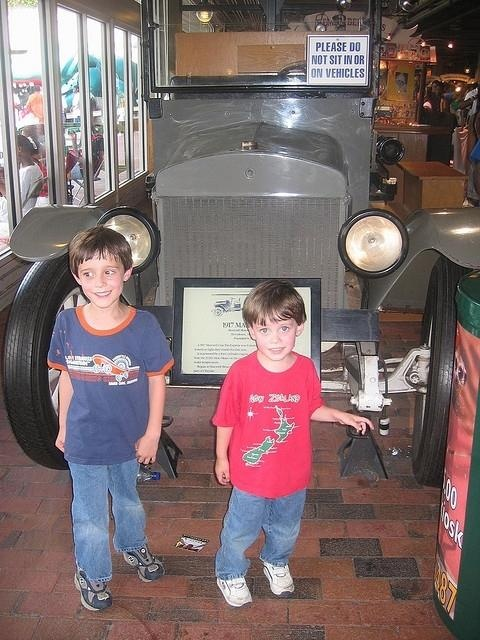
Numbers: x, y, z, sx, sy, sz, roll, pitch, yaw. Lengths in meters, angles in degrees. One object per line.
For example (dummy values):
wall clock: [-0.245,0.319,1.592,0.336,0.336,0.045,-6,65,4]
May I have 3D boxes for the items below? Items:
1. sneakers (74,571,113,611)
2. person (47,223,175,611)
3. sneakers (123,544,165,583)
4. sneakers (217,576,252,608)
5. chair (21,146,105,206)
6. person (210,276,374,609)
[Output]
sneakers: [-0.410,0.738,1.366,0.137,0.062,0.065,17,-11,43]
person: [-0.349,0.276,1.345,0.305,1.046,0.228,-3,8,-22]
sneakers: [-0.297,0.732,1.525,0.068,0.067,0.150,-10,17,-42]
sneakers: [-0.012,0.744,1.347,0.054,0.049,0.124,15,-11,-24]
chair: [-2.171,-1.762,5.910,0.786,1.009,0.816,5,17,1]
person: [0.114,0.350,1.289,0.367,0.906,0.274,-1,8,-4]
